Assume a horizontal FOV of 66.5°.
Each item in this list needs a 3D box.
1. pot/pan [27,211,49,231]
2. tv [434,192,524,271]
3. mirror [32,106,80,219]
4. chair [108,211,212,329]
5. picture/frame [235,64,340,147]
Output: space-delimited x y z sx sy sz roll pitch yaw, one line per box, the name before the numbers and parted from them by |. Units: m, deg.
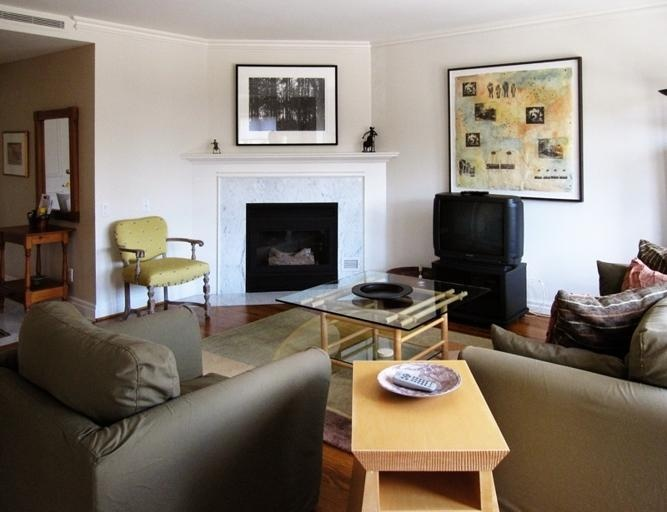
pot/pan | -2.866 -0.337 4.910 0.179 0.186 0.255 -1 7 -34
tv | 1.315 -0.251 4.766 1.075 0.866 0.585 5 7 37
mirror | -2.698 -0.914 4.942 1.013 1.416 0.093 5 6 40
chair | -1.559 0.059 5.181 0.925 1.344 0.993 4 7 36
picture/frame | -0.538 -1.659 5.472 0.834 0.659 0.029 0 4 -5
